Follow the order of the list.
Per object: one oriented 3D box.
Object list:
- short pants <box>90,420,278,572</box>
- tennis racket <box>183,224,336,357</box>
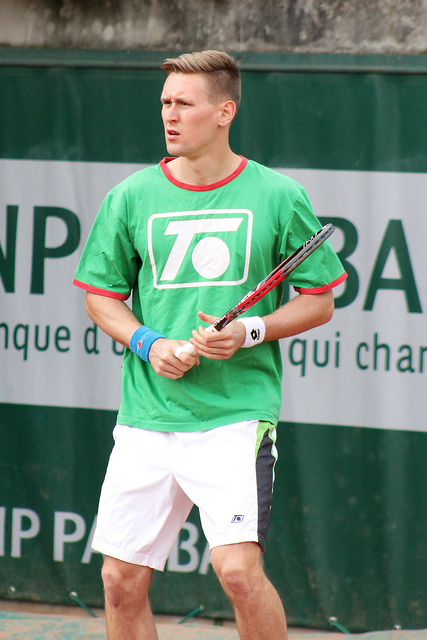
[{"bbox_3d":[-0.081,0.602,3.480,0.635,0.237,0.544,-5,69,26],"label":"short pants"},{"bbox_3d":[0.172,-0.128,3.323,0.548,0.249,0.067,-38,71,-21],"label":"tennis racket"}]
